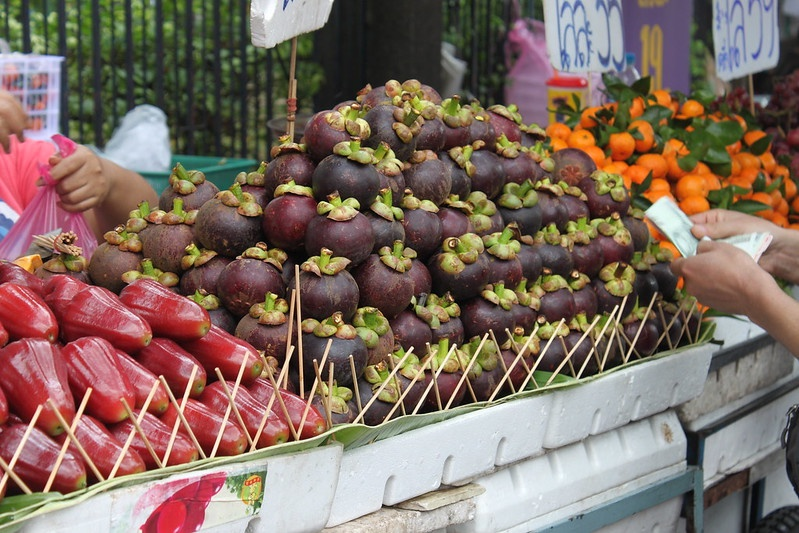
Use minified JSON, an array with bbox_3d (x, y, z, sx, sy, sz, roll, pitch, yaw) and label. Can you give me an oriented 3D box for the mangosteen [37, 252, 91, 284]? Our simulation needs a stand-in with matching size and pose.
[{"bbox_3d":[-1.074,-0.002,2.493,0.123,0.137,0.134,10,6,32],"label":"mangosteen"}]
